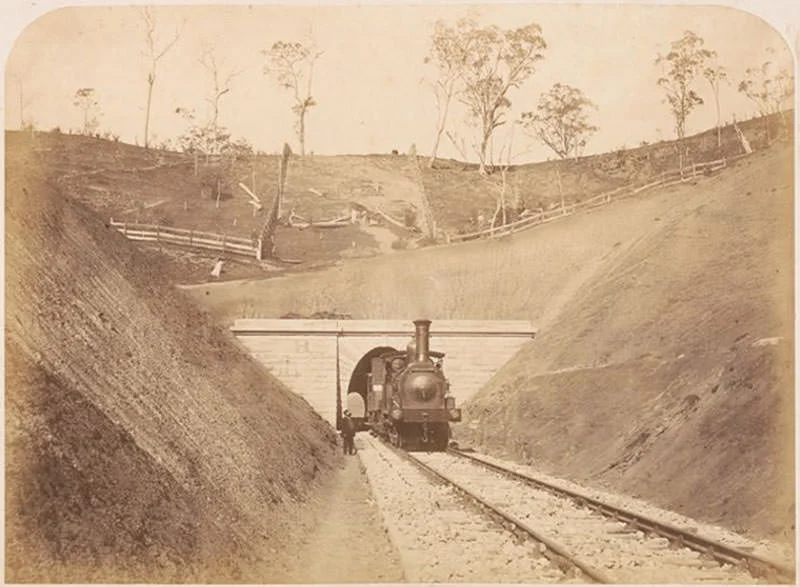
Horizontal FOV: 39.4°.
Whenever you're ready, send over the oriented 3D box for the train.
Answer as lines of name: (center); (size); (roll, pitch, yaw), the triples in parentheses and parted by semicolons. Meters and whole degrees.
train: (0.457, 3.532, 42.790); (2.449, 5.381, 5.273); (-3, 8, -11)
